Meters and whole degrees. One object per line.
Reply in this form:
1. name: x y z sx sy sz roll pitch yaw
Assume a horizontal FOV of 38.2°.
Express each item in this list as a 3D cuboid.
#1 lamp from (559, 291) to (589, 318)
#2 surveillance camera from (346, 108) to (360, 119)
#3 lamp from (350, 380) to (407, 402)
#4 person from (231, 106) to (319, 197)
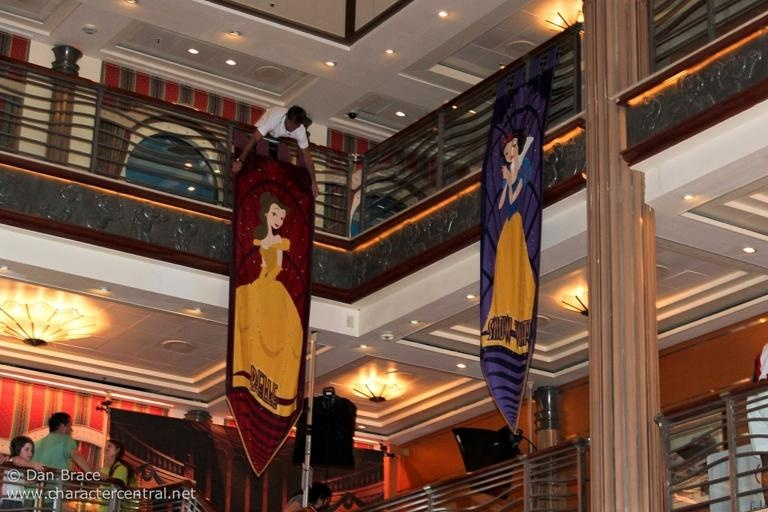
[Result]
1. lamp: 2.531 0.663 14.744 0.308 0.097 0.316 20 -34 -25
2. surveillance camera: -0.504 -2.267 17.667 0.197 0.067 0.198 2 -29 -6
3. lamp: -0.098 2.182 17.357 0.810 0.190 0.678 -2 -29 1
4. person: -1.501 -1.390 15.112 1.159 1.018 1.660 9 -21 -19
